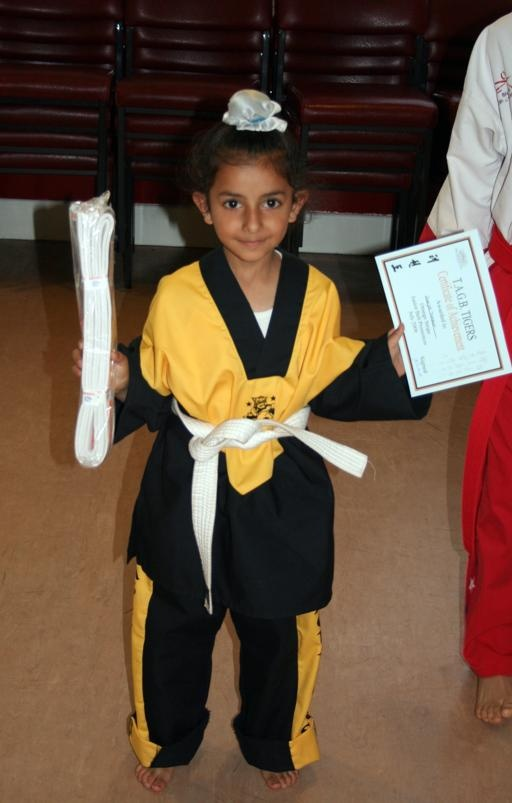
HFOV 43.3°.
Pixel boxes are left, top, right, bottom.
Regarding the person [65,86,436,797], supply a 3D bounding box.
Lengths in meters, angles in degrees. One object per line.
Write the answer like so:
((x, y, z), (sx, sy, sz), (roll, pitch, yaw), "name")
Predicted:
((-0.009, 0.129, 0.959), (0.471, 1.053, 0.337), (2, 27, -9), "person")
